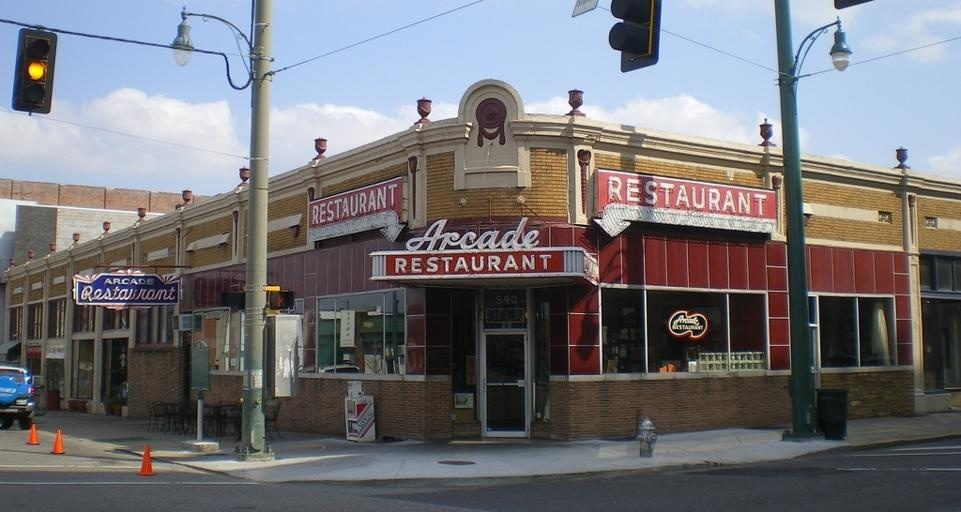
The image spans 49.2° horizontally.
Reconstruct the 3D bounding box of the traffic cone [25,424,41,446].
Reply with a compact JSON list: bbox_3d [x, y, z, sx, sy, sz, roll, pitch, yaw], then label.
[{"bbox_3d":[-19.510,7.764,45.671,0.923,1.109,0.912,3,-13,-22],"label":"traffic cone"}]

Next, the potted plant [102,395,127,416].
[{"bbox_3d":[-20.464,8.230,58.937,1.488,1.389,1.098,1,-12,-10],"label":"potted plant"}]

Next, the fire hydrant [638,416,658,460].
[{"bbox_3d":[6.255,6.830,39.736,0.662,1.408,0.821,2,-2,8],"label":"fire hydrant"}]
